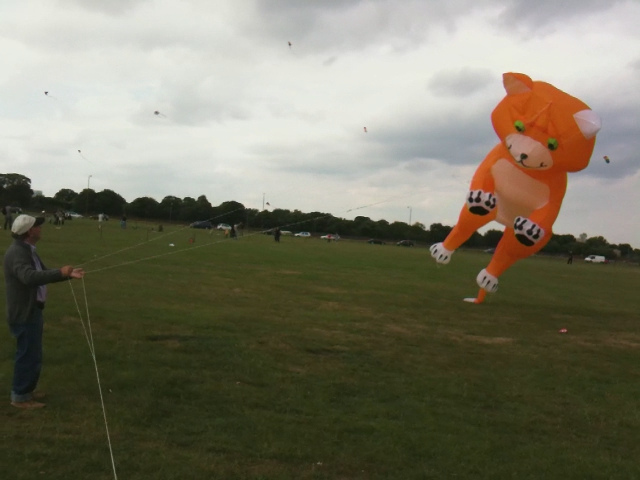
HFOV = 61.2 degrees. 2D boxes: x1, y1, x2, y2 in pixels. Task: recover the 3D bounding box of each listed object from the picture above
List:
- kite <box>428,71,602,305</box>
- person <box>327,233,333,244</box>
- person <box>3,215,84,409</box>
[{"bbox_3d":[5.131,-0.537,14.169,2.021,3.006,4.950,30,-35,13],"label":"kite"},{"bbox_3d":[0.880,-0.135,47.802,0.680,0.777,0.231,-1,20,2],"label":"person"},{"bbox_3d":[-4.724,1.175,8.948,1.036,2.184,0.520,6,2,15],"label":"person"}]
